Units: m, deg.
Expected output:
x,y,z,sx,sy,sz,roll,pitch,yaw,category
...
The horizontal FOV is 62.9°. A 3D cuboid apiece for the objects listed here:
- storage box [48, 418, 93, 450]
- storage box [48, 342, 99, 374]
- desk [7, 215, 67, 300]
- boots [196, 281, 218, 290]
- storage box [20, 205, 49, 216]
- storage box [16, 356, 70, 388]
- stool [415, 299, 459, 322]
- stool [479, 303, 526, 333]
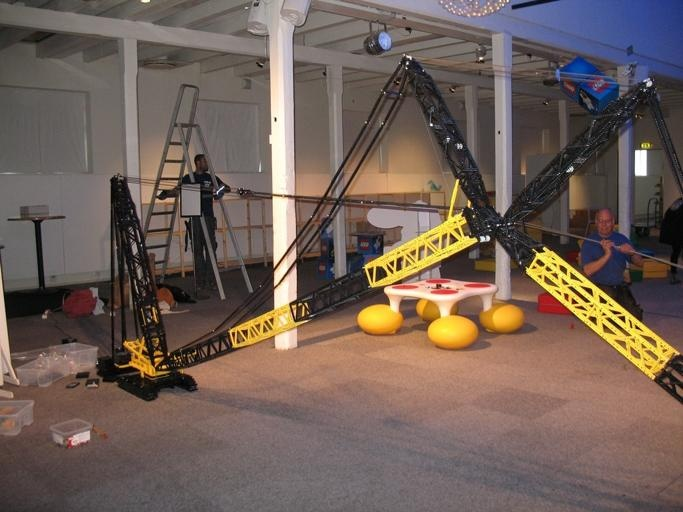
x,y,z,sx,sy,sz,roll,pitch,yaw,category
-2.410,1.587,5.037,0.284,0.111,0.213,-7,12,-44,storage box
-3.405,1.267,7.130,0.415,0.176,0.424,6,9,39,storage box
-6.280,-0.083,11.550,0.853,1.590,1.169,-8,10,-40,desk
-2.863,0.614,11.918,0.342,0.124,0.214,-1,2,23,boots
-6.188,-0.923,11.259,0.316,0.150,0.307,-3,4,-39,storage box
-3.533,1.359,6.669,0.432,0.206,0.560,-1,9,5,storage box
1.381,0.821,8.667,0.429,0.326,0.431,1,5,6,stool
2.367,0.851,8.025,0.468,0.259,0.475,9,16,43,stool
